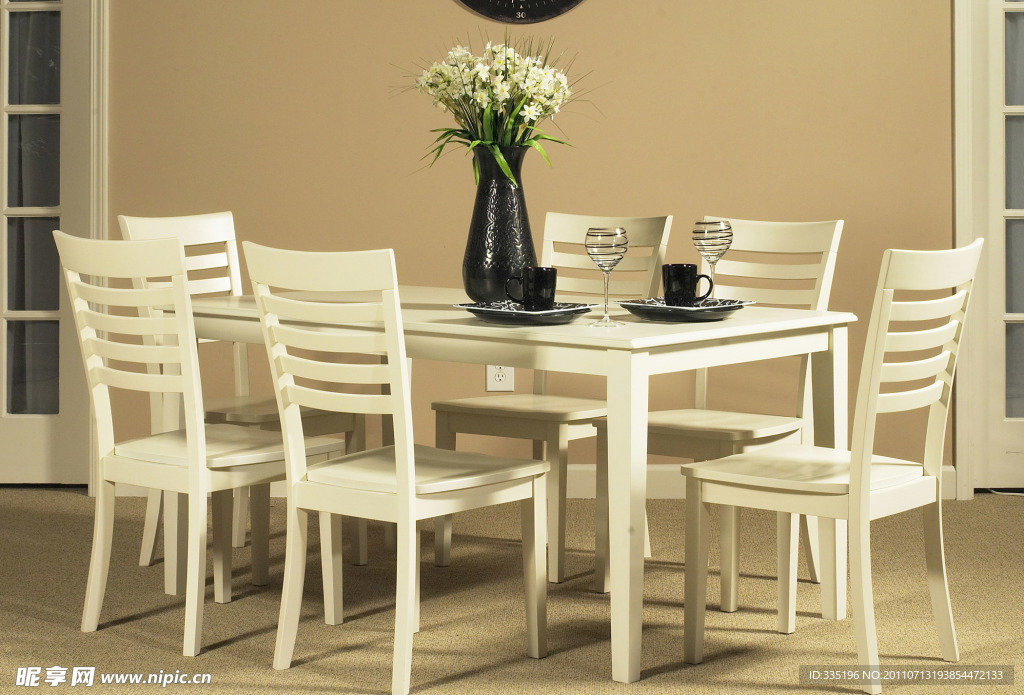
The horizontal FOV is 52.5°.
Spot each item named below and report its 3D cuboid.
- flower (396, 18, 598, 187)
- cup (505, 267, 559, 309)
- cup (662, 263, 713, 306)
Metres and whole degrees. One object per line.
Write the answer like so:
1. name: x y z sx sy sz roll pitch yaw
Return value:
1. flower: -0.048 -0.698 3.460 0.428 0.410 0.399 -8 10 -35
2. cup: 0.050 -0.176 3.116 0.152 0.133 0.095 -2 11 -11
3. cup: 0.533 -0.197 3.222 0.165 0.121 0.107 1 1 5
